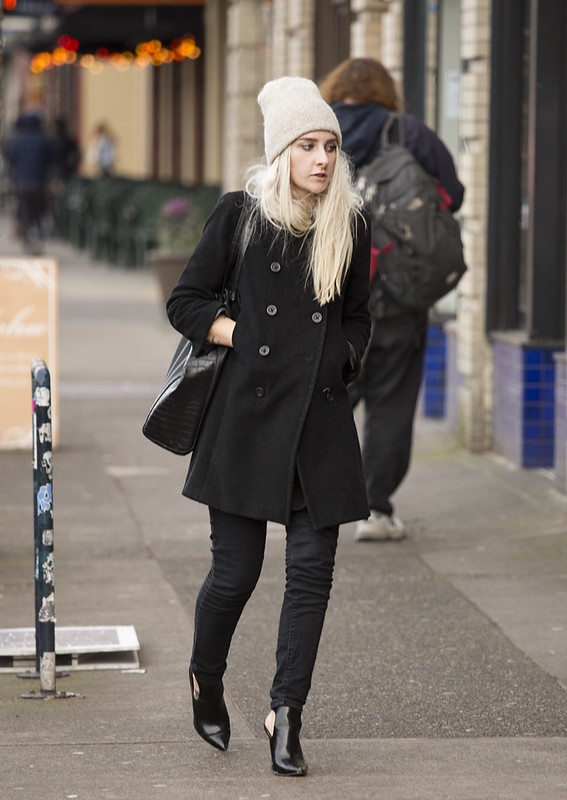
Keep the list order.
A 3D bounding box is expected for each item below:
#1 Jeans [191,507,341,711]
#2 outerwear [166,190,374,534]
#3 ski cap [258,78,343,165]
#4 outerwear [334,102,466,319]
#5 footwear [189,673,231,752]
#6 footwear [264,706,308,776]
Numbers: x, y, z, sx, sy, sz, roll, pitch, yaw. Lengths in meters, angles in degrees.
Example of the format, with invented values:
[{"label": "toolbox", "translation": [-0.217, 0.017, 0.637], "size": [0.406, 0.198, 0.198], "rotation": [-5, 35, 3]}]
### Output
[{"label": "Jeans", "translation": [-0.038, 0.435, 3.136], "size": [0.319, 0.785, 0.234], "rotation": [4, 45, -11]}, {"label": "outerwear", "translation": [0.006, -0.078, 3.181], "size": [0.472, 0.731, 0.311], "rotation": [0, 5, -12]}, {"label": "ski cap", "translation": [0.037, -0.666, 3.243], "size": [0.204, 0.210, 0.152], "rotation": [-10, -6, 42]}, {"label": "outerwear", "translation": [0.466, -0.843, 5.438], "size": [0.406, 0.854, 0.627], "rotation": [-14, 41, 6]}, {"label": "footwear", "translation": [-0.177, 0.752, 3.241], "size": [0.063, 0.230, 0.160], "rotation": [-7, -13, -7]}, {"label": "footwear", "translation": [0.010, 0.783, 3.061], "size": [0.053, 0.102, 0.192], "rotation": [2, 1, -9]}]
